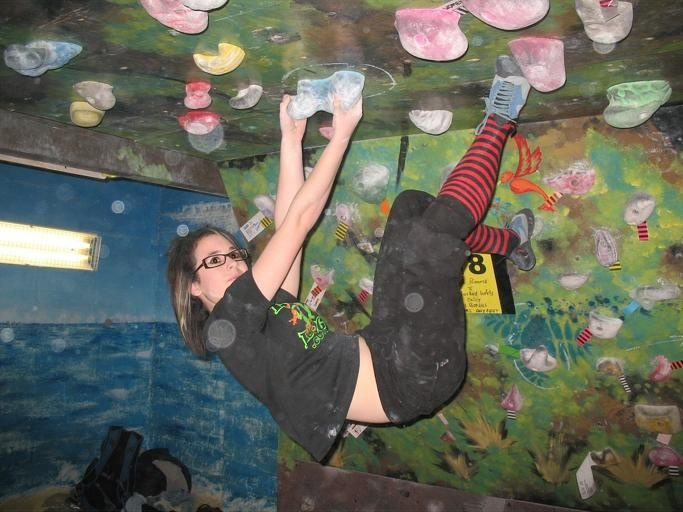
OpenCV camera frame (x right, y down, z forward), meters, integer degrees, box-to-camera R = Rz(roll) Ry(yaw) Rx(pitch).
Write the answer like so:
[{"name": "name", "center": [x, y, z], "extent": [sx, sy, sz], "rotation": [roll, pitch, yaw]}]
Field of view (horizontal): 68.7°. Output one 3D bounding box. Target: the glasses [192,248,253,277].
[{"name": "glasses", "center": [-0.585, 0.016, 2.491], "extent": [0.160, 0.157, 0.044], "rotation": [-28, 69, 33]}]
